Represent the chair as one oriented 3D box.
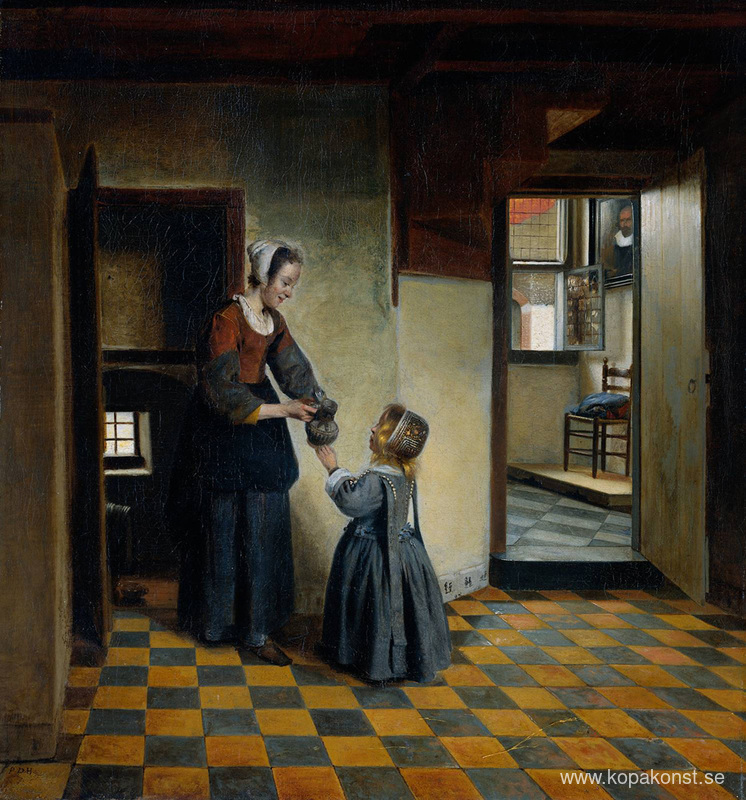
[{"bbox_3d":[1.989,0.132,8.220,0.505,1.038,0.614,0,3,-13],"label":"chair"}]
